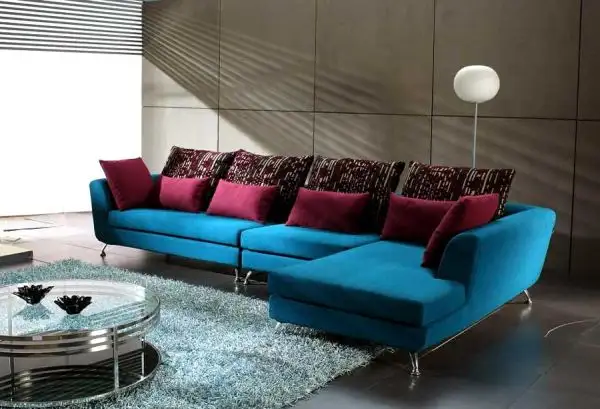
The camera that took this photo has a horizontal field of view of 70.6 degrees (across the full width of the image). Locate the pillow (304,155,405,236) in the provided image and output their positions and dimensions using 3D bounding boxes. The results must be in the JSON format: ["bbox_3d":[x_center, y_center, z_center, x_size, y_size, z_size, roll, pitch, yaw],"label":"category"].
[{"bbox_3d":[0.542,-0.113,4.211,1.002,0.728,0.277,10,-10,32],"label":"pillow"}]

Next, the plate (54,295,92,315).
[{"bbox_3d":[-1.357,0.585,2.545,0.151,0.048,0.146,1,2,27],"label":"plate"}]

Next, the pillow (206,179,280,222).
[{"bbox_3d":[-0.622,-0.053,4.666,0.875,0.308,0.365,11,32,40],"label":"pillow"}]

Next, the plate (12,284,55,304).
[{"bbox_3d":[-1.681,0.554,2.666,0.171,0.062,0.158,-1,-2,-6],"label":"plate"}]

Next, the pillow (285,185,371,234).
[{"bbox_3d":[0.306,0.061,4.261,0.916,0.411,0.297,8,-9,36],"label":"pillow"}]

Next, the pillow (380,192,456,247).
[{"bbox_3d":[1.058,0.142,3.795,0.751,0.388,0.195,6,2,-15],"label":"pillow"}]

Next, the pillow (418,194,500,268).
[{"bbox_3d":[1.162,0.200,3.073,0.506,0.397,0.274,-14,21,-42],"label":"pillow"}]

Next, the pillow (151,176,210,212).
[{"bbox_3d":[-1.307,-0.149,5.040,0.211,0.339,0.643,33,-20,-35],"label":"pillow"}]

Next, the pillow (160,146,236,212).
[{"bbox_3d":[-1.122,-0.249,5.178,0.893,0.742,0.259,12,-6,34],"label":"pillow"}]

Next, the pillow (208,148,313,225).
[{"bbox_3d":[-0.359,-0.199,4.525,0.965,0.813,0.287,12,-15,35],"label":"pillow"}]
